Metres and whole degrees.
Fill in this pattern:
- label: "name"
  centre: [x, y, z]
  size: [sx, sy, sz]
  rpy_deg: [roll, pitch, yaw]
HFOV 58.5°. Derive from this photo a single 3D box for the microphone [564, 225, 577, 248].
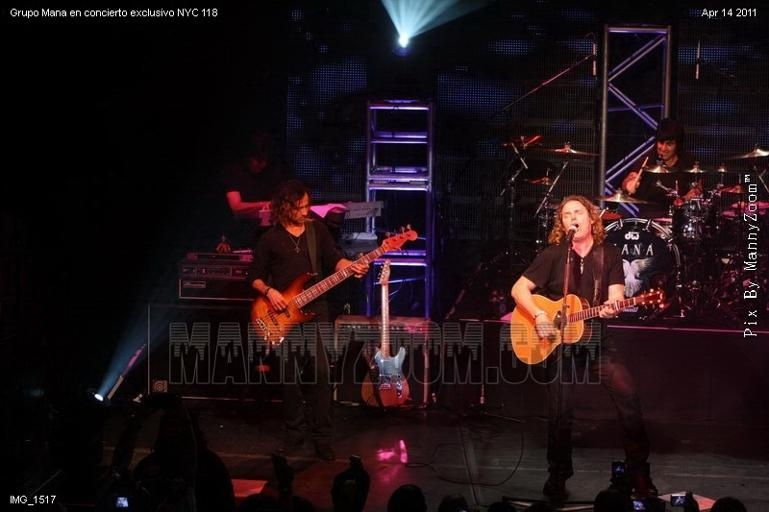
- label: "microphone"
  centre: [1.610, -0.175, 5.938]
  size: [0.057, 0.209, 0.071]
  rpy_deg: [12, -16, 30]
